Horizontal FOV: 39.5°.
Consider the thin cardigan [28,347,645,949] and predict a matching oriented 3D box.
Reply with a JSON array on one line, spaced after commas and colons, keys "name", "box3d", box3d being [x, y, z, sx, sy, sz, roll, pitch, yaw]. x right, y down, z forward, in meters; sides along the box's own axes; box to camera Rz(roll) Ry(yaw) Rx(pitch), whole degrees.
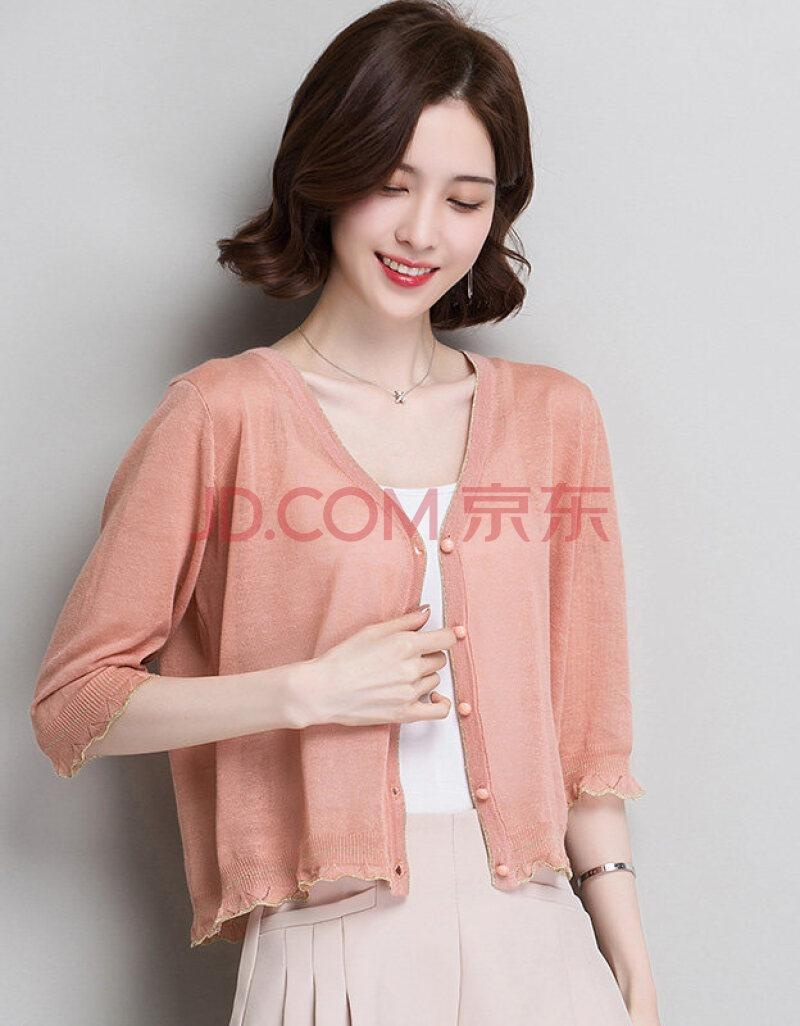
[{"name": "thin cardigan", "box3d": [-0.066, 0.182, 1.485, 0.940, 0.707, 0.319, 6, -3, -25]}]
